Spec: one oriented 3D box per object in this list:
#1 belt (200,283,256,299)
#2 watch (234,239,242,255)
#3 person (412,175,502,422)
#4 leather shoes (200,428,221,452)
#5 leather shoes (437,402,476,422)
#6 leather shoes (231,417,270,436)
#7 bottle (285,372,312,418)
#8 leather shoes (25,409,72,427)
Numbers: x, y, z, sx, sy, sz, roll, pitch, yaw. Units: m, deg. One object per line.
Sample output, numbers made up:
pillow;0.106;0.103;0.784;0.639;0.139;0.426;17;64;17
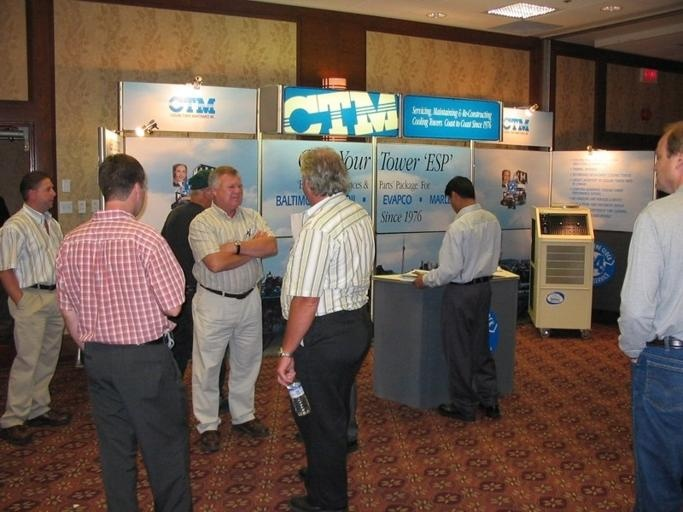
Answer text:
belt;-0.851;0.269;4.213;0.380;0.108;0.122;-3;11;-16
watch;-0.755;-0.058;4.090;0.041;0.091;0.037;-2;10;-11
person;1.007;0.360;4.743;0.732;2.013;0.470;1;10;7
leather shoes;-0.996;1.397;4.246;0.136;0.132;0.139;-3;11;-17
leather shoes;1.000;1.312;4.823;0.300;0.140;0.121;16;18;37
leather shoes;-0.728;1.364;4.480;0.279;0.122;0.122;2;5;18
bottle;-0.244;0.831;3.230;0.130;0.230;0.079;4;11;21
leather shoes;-2.419;1.350;4.674;0.360;0.157;0.133;-3;5;-13
